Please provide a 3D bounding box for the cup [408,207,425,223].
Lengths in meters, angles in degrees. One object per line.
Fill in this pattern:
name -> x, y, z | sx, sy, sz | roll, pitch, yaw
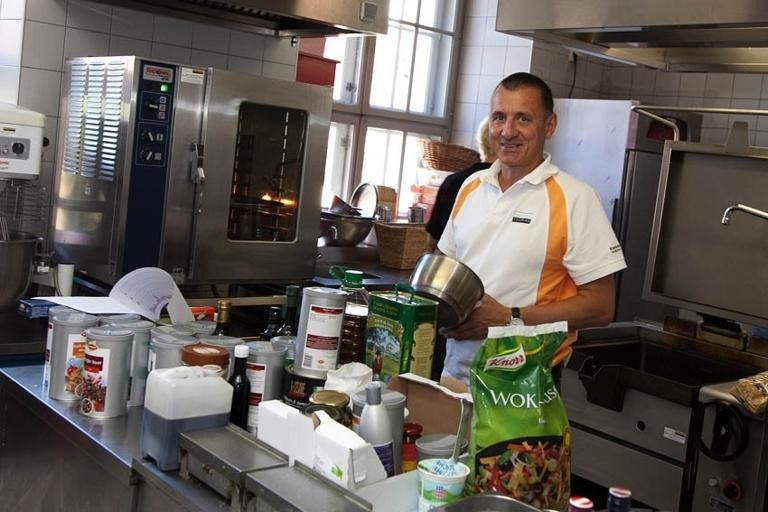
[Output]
cup -> 0.239, -0.305, 4.091 | 0.128, 0.101, 0.103 | 2, -1, -31

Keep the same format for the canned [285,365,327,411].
canned -> -0.201, 0.338, 1.432 | 0.101, 0.068, 0.098 | 2, 4, 11

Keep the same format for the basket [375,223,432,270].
basket -> 0.108, -0.075, 3.920 | 0.344, 0.283, 0.397 | -1, 3, -24

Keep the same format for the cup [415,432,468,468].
cup -> 0.121, 0.386, 1.183 | 0.090, 0.080, 0.089 | 0, 7, 0

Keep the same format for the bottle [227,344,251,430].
bottle -> -0.375, 0.334, 1.426 | 0.053, 0.220, 0.065 | -1, 10, -17

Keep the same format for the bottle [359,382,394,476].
bottle -> -0.018, 0.367, 1.181 | 0.078, 0.193, 0.125 | -1, 10, -17

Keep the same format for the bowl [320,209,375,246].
bowl -> -0.273, -0.176, 3.713 | 0.285, 0.145, 0.281 | 8, 7, -1

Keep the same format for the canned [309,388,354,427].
canned -> -0.126, 0.363, 1.292 | 0.095, 0.064, 0.122 | 1, 9, -8

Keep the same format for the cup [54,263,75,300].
cup -> -1.421, 0.108, 2.439 | 0.073, 0.145, 0.212 | -4, 11, -31

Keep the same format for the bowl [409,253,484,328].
bowl -> 0.177, 0.110, 1.581 | 0.252, 0.234, 0.142 | 0, 10, -14

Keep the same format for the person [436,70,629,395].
person -> 0.556, -0.221, 2.092 | 0.418, 0.904, 0.584 | -3, 11, -28

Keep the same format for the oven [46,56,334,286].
oven -> -0.933, -0.401, 2.771 | 1.342, 1.084, 0.428 | -1, 10, -20

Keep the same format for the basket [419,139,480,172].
basket -> 0.491, -0.727, 4.353 | 0.346, 0.145, 0.363 | 12, 9, 33

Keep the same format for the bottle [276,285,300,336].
bottle -> -0.304, 0.158, 1.728 | 0.062, 0.173, 0.221 | 0, 10, -11
